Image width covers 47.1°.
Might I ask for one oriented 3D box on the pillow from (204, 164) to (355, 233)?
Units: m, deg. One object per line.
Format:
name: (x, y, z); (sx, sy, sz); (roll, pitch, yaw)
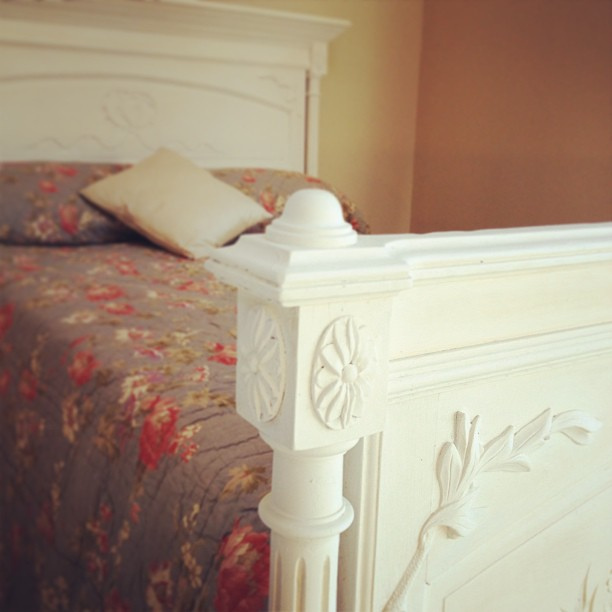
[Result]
pillow: (-0.076, -0.470, 2.776); (0.558, 0.133, 0.414); (-2, 23, -45)

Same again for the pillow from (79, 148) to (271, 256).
pillow: (-0.481, -0.351, 2.382); (0.528, 0.139, 0.542); (37, 36, 15)
